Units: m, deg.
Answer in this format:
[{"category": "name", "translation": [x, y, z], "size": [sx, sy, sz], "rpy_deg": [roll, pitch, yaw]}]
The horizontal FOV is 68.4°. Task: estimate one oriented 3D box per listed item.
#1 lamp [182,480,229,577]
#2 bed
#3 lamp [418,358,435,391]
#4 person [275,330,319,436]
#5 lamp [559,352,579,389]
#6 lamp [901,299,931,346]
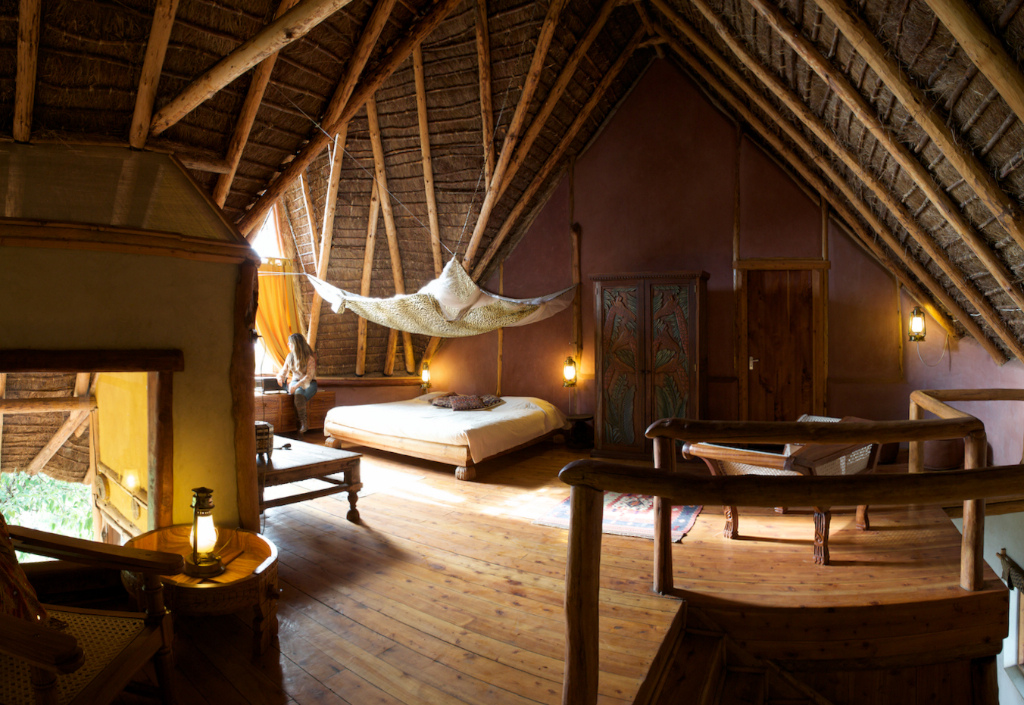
[{"category": "lamp", "translation": [-1.855, 1.078, 4.539], "size": [0.255, 0.525, 0.254], "rpy_deg": [-1, 0, -1]}, {"category": "bed", "translation": [-0.727, 0.887, 8.390], "size": [2.037, 0.564, 1.742], "rpy_deg": [-1, 0, 35]}, {"category": "lamp", "translation": [-1.146, 0.273, 10.022], "size": [0.127, 0.349, 0.231], "rpy_deg": [-1, 0, 8]}, {"category": "person", "translation": [-2.500, 0.386, 8.812], "size": [0.415, 1.199, 1.214], "rpy_deg": [-1, 0, -17]}, {"category": "lamp", "translation": [0.690, 0.217, 8.933], "size": [0.204, 0.324, 0.306], "rpy_deg": [-1, 0, 4]}, {"category": "lamp", "translation": [3.948, -0.304, 7.412], "size": [0.213, 0.423, 0.327], "rpy_deg": [-1, 0, 28]}]
